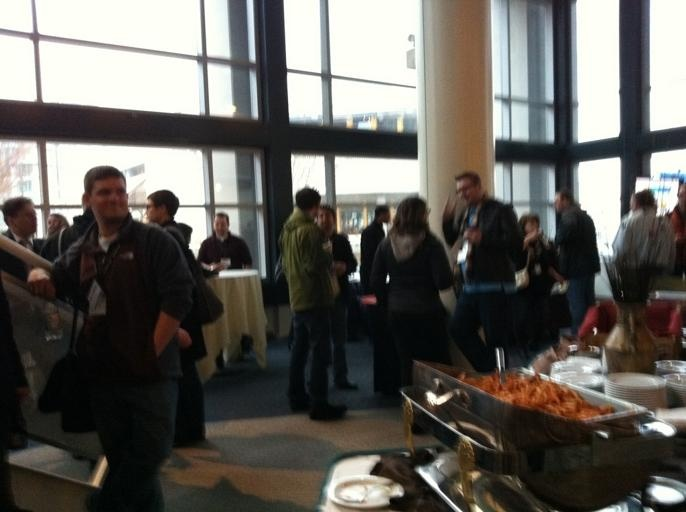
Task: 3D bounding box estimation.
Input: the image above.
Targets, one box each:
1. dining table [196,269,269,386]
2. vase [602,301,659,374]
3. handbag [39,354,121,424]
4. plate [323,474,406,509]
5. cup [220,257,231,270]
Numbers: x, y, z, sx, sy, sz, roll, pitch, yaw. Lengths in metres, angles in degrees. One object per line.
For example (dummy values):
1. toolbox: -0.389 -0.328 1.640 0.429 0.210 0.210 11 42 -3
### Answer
1. dining table: -0.762 0.460 4.116 0.465 0.642 0.489 -4 3 26
2. vase: 0.835 0.262 1.714 0.145 0.277 0.163 -2 5 13
3. handbag: -0.780 0.386 1.681 0.124 0.202 0.057 3 -5 -43
4. plate: 0.051 0.549 1.370 0.183 0.043 0.082 -6 9 1
5. cup: -0.875 0.051 4.401 0.073 0.097 0.078 -1 4 0
